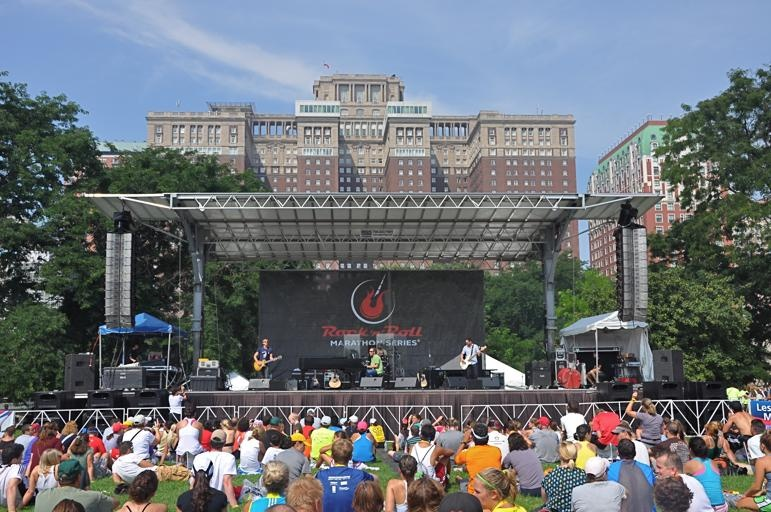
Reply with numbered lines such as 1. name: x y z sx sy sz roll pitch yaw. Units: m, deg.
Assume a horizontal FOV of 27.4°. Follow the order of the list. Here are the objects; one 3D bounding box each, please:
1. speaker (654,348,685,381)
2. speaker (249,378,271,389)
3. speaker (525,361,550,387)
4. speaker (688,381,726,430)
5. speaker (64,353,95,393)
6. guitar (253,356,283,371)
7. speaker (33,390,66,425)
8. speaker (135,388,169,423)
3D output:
1. speaker: 14.320 5.444 80.145 1.659 1.588 1.328 -1 4 36
2. speaker: -6.360 6.326 79.784 0.899 0.561 0.475 1 -8 -3
3. speaker: 7.824 5.944 81.268 1.321 1.576 1.294 2 -13 -7
4. speaker: 15.889 7.242 78.162 1.753 2.276 0.611 0 -5 10
5. speaker: -15.196 5.662 78.494 1.494 1.914 0.729 1 -5 -9
6. guitar: -6.248 5.498 81.870 1.051 0.711 0.783 1 -5 -5
7. speaker: -16.531 7.176 77.801 1.201 2.129 1.443 -1 -6 -14
8. speaker: -11.624 7.205 78.121 1.498 1.901 1.523 1 1 -2
